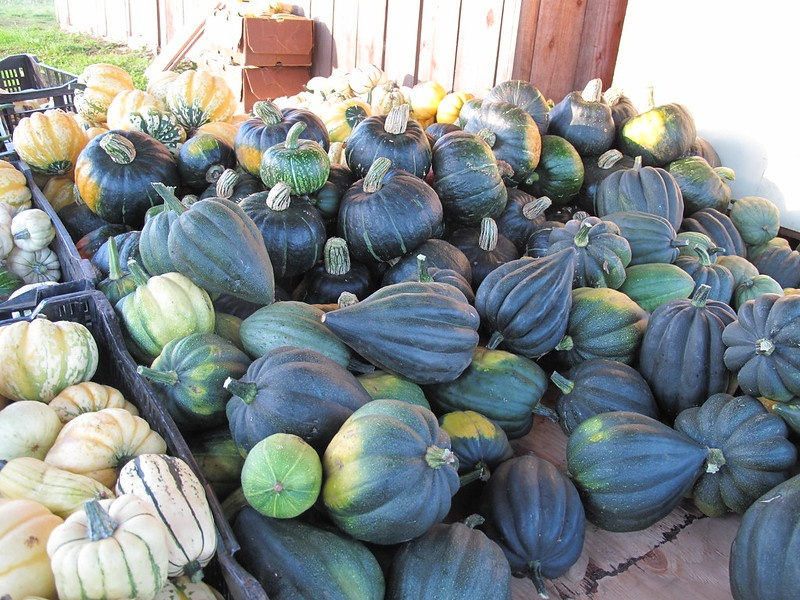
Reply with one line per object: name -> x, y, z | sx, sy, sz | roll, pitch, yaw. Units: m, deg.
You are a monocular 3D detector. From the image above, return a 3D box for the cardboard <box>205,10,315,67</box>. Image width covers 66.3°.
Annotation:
cardboard -> -1.704, -3.217, 7.605 | 1.074, 0.492, 0.974 | -19, 30, -40

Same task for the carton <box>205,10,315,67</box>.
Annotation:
carton -> -1.738, -3.229, 7.611 | 1.327, 0.507, 1.394 | 0, 24, -6

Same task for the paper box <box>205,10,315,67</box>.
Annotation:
paper box -> -1.571, -3.106, 7.322 | 0.883, 0.443, 0.970 | -10, 30, -29
